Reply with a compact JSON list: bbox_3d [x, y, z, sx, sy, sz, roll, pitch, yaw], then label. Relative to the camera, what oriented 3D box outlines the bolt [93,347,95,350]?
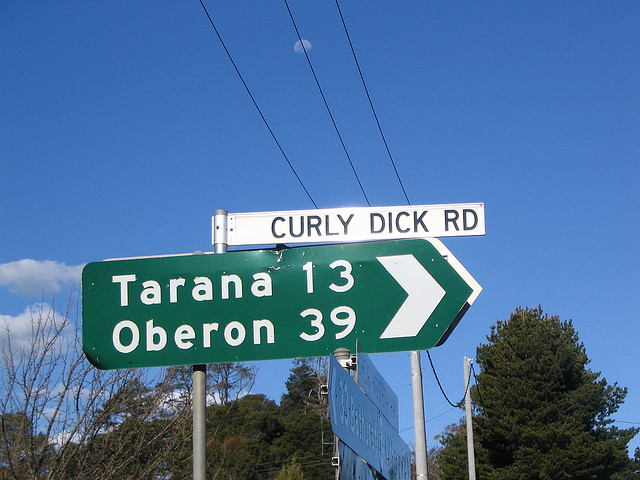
[{"bbox_3d":[-2.679,1.287,10.236,0.022,0.025,0.005,1,-3,2],"label":"bolt"}]

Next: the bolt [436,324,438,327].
[{"bbox_3d":[1.373,1.005,10.104,0.028,0.024,0.030,-4,9,-17],"label":"bolt"}]

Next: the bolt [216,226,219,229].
[{"bbox_3d":[-1.228,-0.150,10.380,0.030,0.033,0.017,-3,-34,-6],"label":"bolt"}]

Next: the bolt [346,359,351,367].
[{"bbox_3d":[0.358,1.560,10.898,0.048,0.093,0.028,2,-3,-2],"label":"bolt"}]
